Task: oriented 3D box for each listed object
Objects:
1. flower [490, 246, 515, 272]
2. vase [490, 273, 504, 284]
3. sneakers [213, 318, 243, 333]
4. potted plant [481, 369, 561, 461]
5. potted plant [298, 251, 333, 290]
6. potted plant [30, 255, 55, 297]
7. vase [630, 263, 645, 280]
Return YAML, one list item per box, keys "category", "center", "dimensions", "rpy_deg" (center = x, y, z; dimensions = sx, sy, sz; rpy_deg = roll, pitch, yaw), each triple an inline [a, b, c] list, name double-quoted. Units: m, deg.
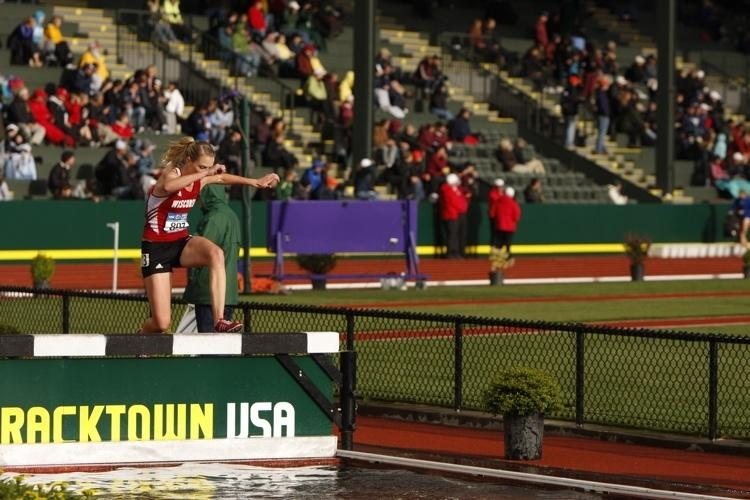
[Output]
- category: "flower"
  center: [3.405, 0.262, 49.460]
  dimensions: [0.586, 0.587, 1.043]
  rpy_deg: [0, 3, 4]
- category: "vase"
  center: [3.218, 0.742, 49.092]
  dimensions: [0.309, 0.315, 0.287]
  rpy_deg: [2, -3, -22]
- category: "sneakers"
  center: [-2.525, 1.282, 31.642]
  dimensions: [0.457, 0.206, 0.255]
  rpy_deg: [0, 3, 0]
- category: "potted plant"
  center: [2.622, 2.848, 32.303]
  dimensions: [1.432, 1.574, 1.538]
  rpy_deg: [1, -4, 9]
- category: "potted plant"
  center: [-1.432, 0.526, 47.380]
  dimensions: [0.996, 1.028, 0.859]
  rpy_deg: [0, -1, -3]
- category: "potted plant"
  center: [-8.003, 0.482, 44.465]
  dimensions: [0.509, 0.778, 0.795]
  rpy_deg: [-1, 3, -10]
- category: "vase"
  center: [7.189, 0.590, 50.547]
  dimensions: [0.314, 0.492, 0.366]
  rpy_deg: [0, 3, 3]
